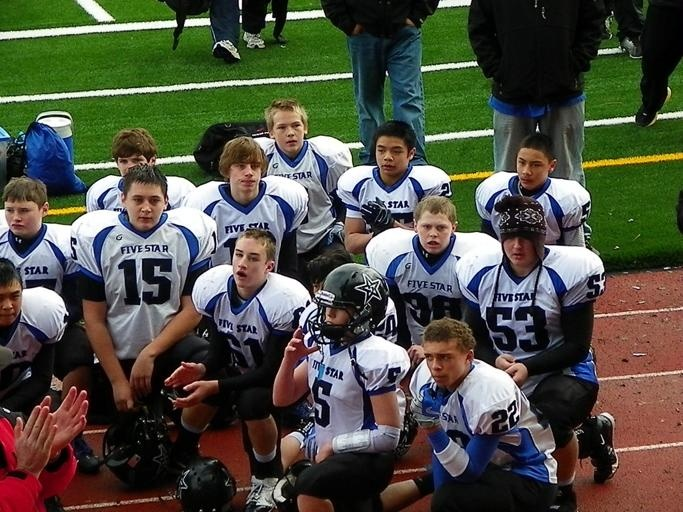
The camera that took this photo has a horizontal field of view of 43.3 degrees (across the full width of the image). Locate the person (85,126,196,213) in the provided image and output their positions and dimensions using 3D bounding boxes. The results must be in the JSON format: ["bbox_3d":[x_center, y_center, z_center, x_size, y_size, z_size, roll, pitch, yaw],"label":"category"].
[{"bbox_3d":[-1.733,-0.583,7.410,0.986,1.035,0.503,2,6,-4],"label":"person"}]

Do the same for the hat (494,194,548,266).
[{"bbox_3d":[1.168,-0.227,5.857,0.419,0.433,0.298,-3,4,-39],"label":"hat"}]

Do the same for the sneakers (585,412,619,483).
[{"bbox_3d":[1.810,1.306,5.949,0.169,0.535,0.238,2,14,29],"label":"sneakers"}]

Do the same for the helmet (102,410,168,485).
[{"bbox_3d":[-1.394,1.331,6.159,0.515,0.484,0.429,-7,13,-31],"label":"helmet"}]

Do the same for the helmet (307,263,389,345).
[{"bbox_3d":[0.080,0.295,5.386,0.514,0.431,0.394,-2,5,-25],"label":"helmet"}]

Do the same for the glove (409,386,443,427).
[{"bbox_3d":[0.494,0.903,5.061,0.159,0.064,0.118,43,3,31],"label":"glove"}]

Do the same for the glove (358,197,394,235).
[{"bbox_3d":[0.283,-0.340,7.197,0.227,0.306,0.148,-27,18,1],"label":"glove"}]

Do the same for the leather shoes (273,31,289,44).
[{"bbox_3d":[-1.036,-3.704,14.698,0.253,0.258,0.146,-11,43,1],"label":"leather shoes"}]

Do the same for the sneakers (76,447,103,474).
[{"bbox_3d":[-1.832,1.488,6.243,0.194,0.106,0.321,3,18,-19],"label":"sneakers"}]
